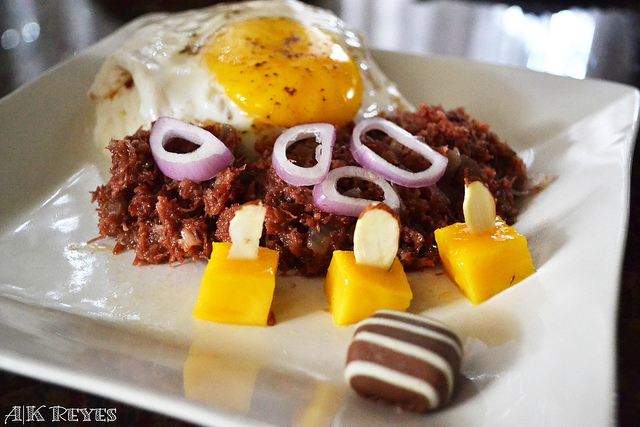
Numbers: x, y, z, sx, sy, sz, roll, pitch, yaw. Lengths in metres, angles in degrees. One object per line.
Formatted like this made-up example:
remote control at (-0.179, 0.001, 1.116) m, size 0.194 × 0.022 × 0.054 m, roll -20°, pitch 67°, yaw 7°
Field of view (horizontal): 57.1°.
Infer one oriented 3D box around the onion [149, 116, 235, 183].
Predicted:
onion at (-0.659, -0.358, 3.129) m, size 0.357 × 0.311 × 0.561 m, roll 2°, pitch 15°, yaw 22°

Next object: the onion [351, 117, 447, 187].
onion at (0.410, -0.312, 3.117) m, size 0.468 × 0.108 × 0.345 m, roll 36°, pitch 37°, yaw 15°
